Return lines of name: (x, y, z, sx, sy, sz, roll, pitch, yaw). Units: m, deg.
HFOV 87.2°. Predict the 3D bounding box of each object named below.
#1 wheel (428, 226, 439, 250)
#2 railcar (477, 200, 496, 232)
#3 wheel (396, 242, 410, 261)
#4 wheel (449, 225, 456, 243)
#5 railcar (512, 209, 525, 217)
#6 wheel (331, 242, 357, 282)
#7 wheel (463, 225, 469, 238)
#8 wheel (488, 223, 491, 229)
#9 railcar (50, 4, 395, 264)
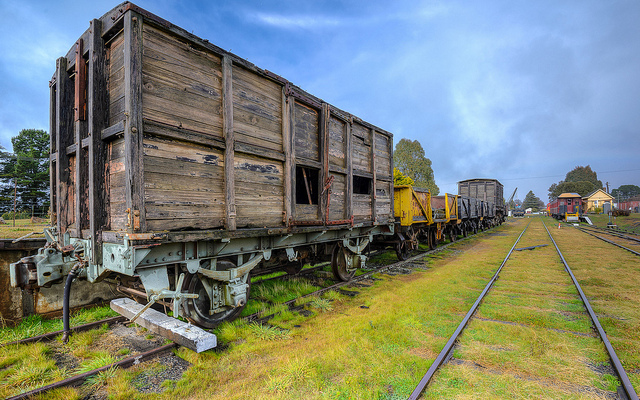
wheel: (5.603, 1.859, 16.627, 0.206, 1.049, 1.195, -6, -8, 31)
railcar: (15.385, 1.355, 30.684, 1.805, 2.770, 8.130, -5, -7, 30)
wheel: (3.398, 2.062, 13.721, 0.353, 0.758, 0.974, 2, 3, 38)
wheel: (7.825, 1.995, 19.762, 0.239, 0.795, 0.943, -11, -20, 36)
railcar: (67.105, 4.305, 112.955, 1.984, 2.718, 11.997, 0, 1, 29)
wheel: (0.747, 1.973, 10.793, 0.261, 0.896, 1.037, -5, -31, 23)
wheel: (9.846, 2.080, 22.606, 0.222, 0.836, 0.874, 7, 1, 32)
wheel: (16.638, 2.614, 32.752, 0.426, 0.096, 0.391, -13, -8, -2)
railcar: (-1.717, -1.044, 10.868, 4.921, 4.449, 9.796, -2, -3, 42)
